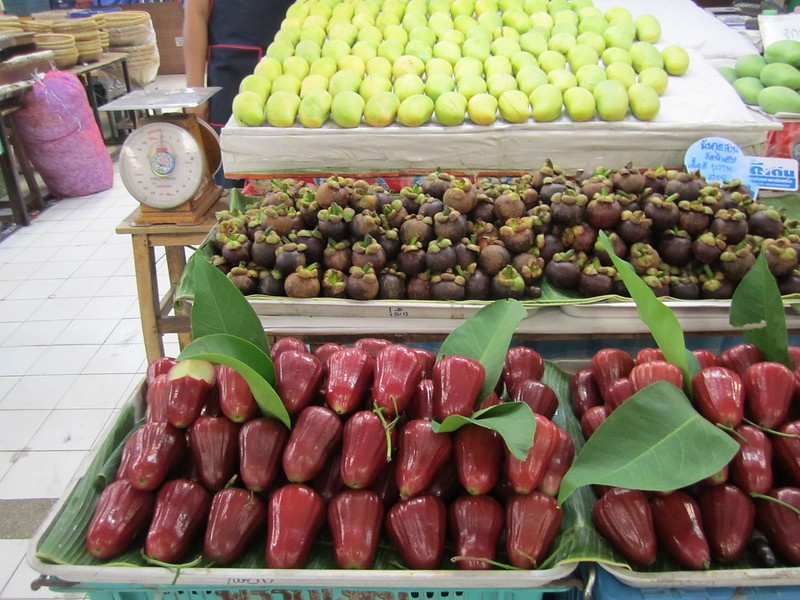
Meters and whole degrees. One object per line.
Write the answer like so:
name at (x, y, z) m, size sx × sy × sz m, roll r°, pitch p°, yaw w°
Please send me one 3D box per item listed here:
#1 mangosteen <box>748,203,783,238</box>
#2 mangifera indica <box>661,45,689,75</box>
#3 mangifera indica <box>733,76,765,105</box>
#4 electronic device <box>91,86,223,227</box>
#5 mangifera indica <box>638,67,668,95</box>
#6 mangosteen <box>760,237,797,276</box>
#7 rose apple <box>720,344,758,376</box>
mangosteen at (1.192, -0.255, 2.022) m, size 0.104 × 0.111 × 0.104 m, roll -2°, pitch -4°, yaw 19°
mangifera indica at (1.309, -1.127, 2.936) m, size 0.105 × 0.145 × 0.078 m, roll -3°, pitch 8°, yaw -6°
mangifera indica at (1.736, -1.052, 3.101) m, size 0.124 × 0.092 × 0.161 m, roll -1°, pitch 36°, yaw 6°
electronic device at (-0.961, -0.634, 2.674) m, size 0.423 × 0.514 × 0.428 m, roll -5°, pitch 31°, yaw 1°
mangifera indica at (1.152, -0.974, 2.822) m, size 0.125 × 0.131 × 0.130 m, roll 2°, pitch 1°, yaw 31°
mangosteen at (1.206, -0.136, 1.964) m, size 0.107 × 0.113 × 0.121 m, roll 14°, pitch 36°, yaw 29°
rose apple at (0.765, 0.130, 1.384) m, size 0.065 × 0.064 × 0.066 m, roll -12°, pitch -14°, yaw -40°
